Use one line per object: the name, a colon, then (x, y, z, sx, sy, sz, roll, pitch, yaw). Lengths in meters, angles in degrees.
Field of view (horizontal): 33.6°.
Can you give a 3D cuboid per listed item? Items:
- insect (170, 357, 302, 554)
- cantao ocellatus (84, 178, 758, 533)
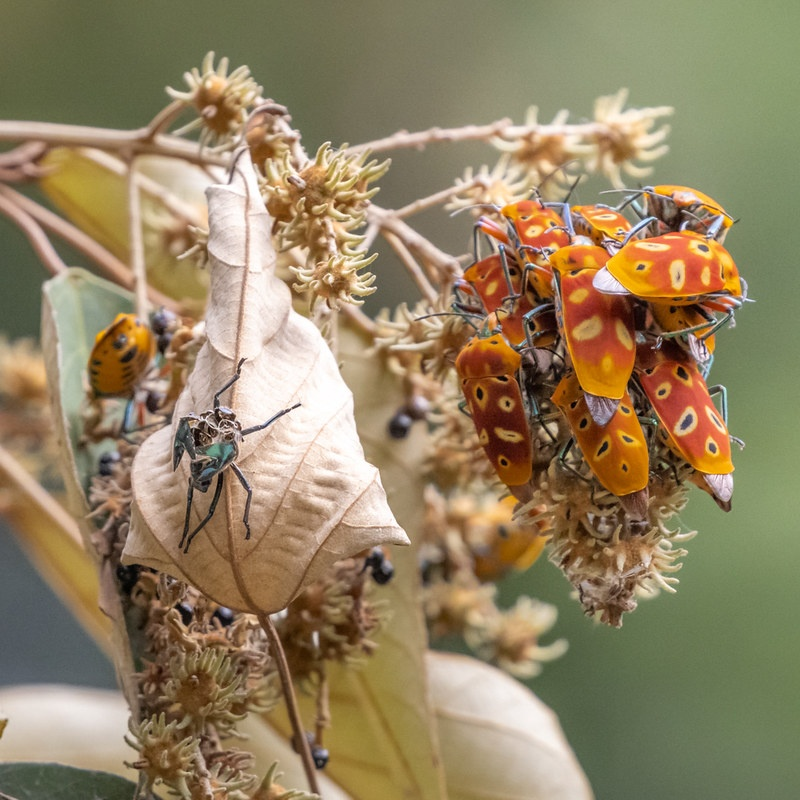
insect: (-0.182, 0.041, 1.270, 0.056, 0.147, 0.161, 10, -47, -43)
cantao ocellatus: (0.096, -0.042, 1.395, 0.442, 0.418, 0.187, 15, -52, 18)
